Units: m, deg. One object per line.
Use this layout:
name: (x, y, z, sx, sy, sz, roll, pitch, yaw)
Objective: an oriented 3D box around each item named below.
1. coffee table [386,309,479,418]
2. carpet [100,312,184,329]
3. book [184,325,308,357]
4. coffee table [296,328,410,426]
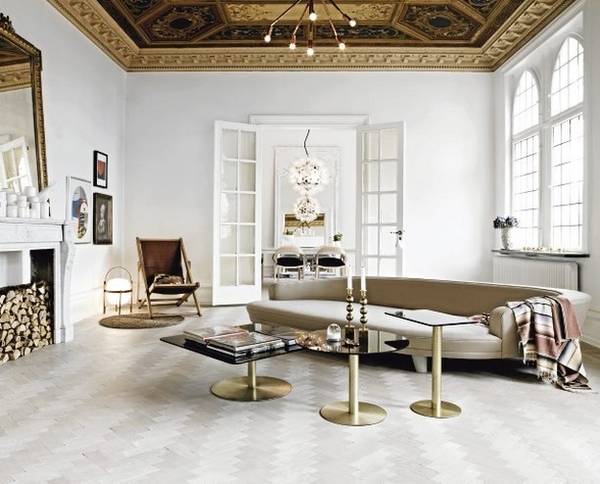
coffee table: (1.074, 0.839, 3.502, 0.708, 0.918, 0.984, 0, 0, -1)
carpet: (-2.174, 1.056, 6.023, 1.153, 0.056, 1.052, 0, 3, -4)
book: (-0.405, 0.745, 3.446, 0.859, 0.071, 0.665, 3, 4, 43)
coffee table: (0.436, 0.900, 3.201, 0.675, 0.409, 0.628, 0, 6, 0)
